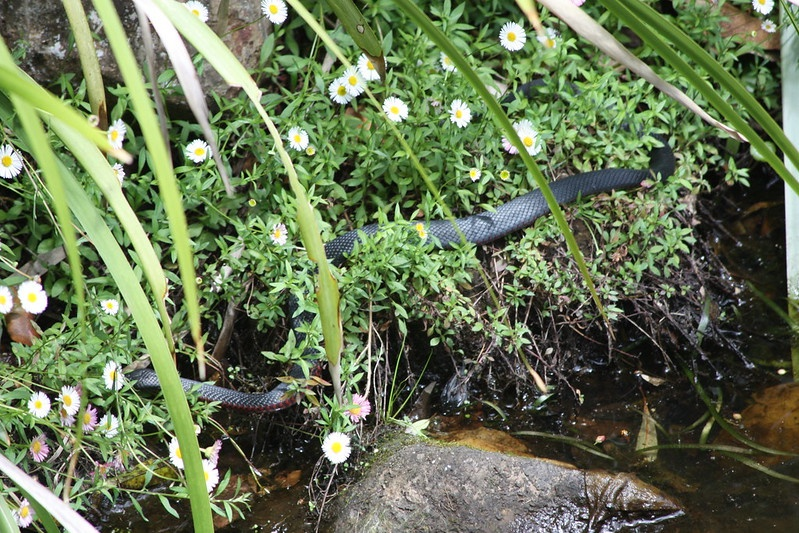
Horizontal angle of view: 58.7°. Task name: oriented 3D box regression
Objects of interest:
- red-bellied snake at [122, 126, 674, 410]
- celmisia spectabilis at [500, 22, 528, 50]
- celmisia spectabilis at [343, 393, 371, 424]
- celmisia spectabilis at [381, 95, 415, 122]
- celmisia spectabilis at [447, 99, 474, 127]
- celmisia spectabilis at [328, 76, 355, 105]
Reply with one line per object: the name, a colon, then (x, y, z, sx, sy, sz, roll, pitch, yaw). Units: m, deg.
red-bellied snake: (-0.054, 0.063, 3.905, 2.519, 0.292, 0.626, -29, 67, -1)
celmisia spectabilis: (0.686, -1.385, 4.292, 0.139, 0.161, 0.190, -5, 24, 21)
celmisia spectabilis: (-0.219, 0.737, 3.704, 0.132, 0.055, 0.139, 29, 57, 7)
celmisia spectabilis: (-0.014, -0.896, 4.098, 0.143, 0.158, 0.129, -17, 23, -7)
celmisia spectabilis: (0.347, -0.878, 4.089, 0.146, 0.137, 0.056, -68, 14, -16)
celmisia spectabilis: (-0.350, -1.003, 4.043, 0.130, 0.145, 0.058, 5, 19, 18)
